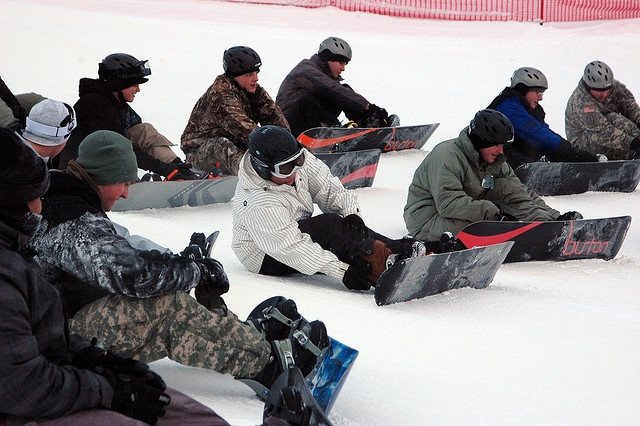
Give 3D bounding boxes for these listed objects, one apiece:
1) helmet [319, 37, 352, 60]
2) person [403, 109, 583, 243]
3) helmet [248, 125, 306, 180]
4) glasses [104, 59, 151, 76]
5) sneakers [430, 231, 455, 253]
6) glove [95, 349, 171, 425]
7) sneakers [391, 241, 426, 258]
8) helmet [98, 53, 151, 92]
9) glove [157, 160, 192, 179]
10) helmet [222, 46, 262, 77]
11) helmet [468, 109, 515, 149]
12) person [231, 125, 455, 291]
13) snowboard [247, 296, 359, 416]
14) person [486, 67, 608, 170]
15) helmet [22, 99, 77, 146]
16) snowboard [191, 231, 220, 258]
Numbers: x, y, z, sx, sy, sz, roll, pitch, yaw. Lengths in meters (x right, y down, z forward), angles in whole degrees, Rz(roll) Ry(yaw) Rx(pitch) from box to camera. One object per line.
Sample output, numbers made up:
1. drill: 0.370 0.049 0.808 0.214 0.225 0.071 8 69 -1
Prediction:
1. helmet: 0.235 -2.519 8.744 0.452 0.271 0.325 8 30 -9
2. person: 1.696 -0.378 5.757 1.720 1.262 1.138 7 14 32
3. helmet: -0.361 -0.492 4.578 0.441 0.350 0.344 21 44 30
4. glasses: -2.128 -1.610 6.333 0.308 0.120 0.236 -2 9 -20
5. sneakers: 1.055 0.256 4.823 0.322 0.140 0.108 -9 14 20
6. glove: -0.888 0.784 2.625 0.308 0.132 0.317 27 6 28
7. sneakers: 0.729 0.302 4.534 0.216 0.087 0.127 -8 5 7
8. helmet: -2.174 -1.578 6.292 0.500 0.389 0.424 -2 19 -16
9. glove: -1.731 -0.516 6.860 0.518 0.177 0.223 -1 -8 6
10. helmet: -1.002 -1.922 7.077 0.433 0.408 0.347 -5 26 10
11. helmet: 1.603 -0.783 5.415 0.321 0.366 0.408 -6 40 -34
12. person: 0.136 -0.155 4.860 1.880 1.293 1.126 8 28 18
13. snowboard: -0.164 0.852 3.221 0.642 0.252 0.483 32 51 2
14. person: 2.927 -1.246 7.599 1.466 1.195 1.321 3 36 19
15. helmet: -2.255 -0.739 4.851 0.349 0.306 0.461 19 37 2
16. snowboard: -0.863 0.205 4.234 0.216 0.065 0.204 40 40 7
